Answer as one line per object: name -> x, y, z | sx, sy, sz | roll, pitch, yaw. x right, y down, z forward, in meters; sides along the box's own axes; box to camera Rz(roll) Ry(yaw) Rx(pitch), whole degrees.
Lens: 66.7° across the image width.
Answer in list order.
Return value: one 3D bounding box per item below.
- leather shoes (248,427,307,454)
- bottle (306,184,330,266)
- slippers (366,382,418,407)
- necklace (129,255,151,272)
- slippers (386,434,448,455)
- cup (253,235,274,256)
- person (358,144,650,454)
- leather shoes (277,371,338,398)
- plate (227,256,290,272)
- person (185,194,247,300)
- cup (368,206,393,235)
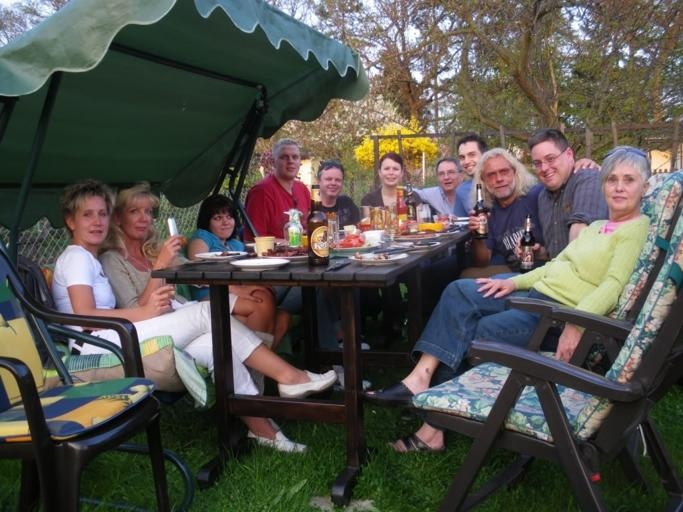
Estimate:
leather shoes -> -0.372, 1.029, 3.026 | 0.320, 0.111, 0.125 | 7, 11, 12
bottle -> -0.128, -0.170, 2.773 | 0.113, 0.411, 0.181 | -2, 9, -3
slippers -> 0.277, 0.750, 2.880 | 0.324, 0.151, 0.131 | 3, -9, -16
necklace -> -1.371, 0.046, 3.519 | 0.111, 0.027, 0.084 | 34, 28, -30
slippers -> 0.432, 1.050, 2.993 | 0.268, 0.094, 0.125 | 4, -7, 1
cup -> -0.455, -0.063, 3.045 | 0.102, 0.091, 0.110 | 2, 3, 0
person -> 0.972, 0.229, 3.029 | 1.334, 1.885, 0.646 | 9, 6, 6
leather shoes -> -0.195, 0.756, 3.103 | 0.349, 0.152, 0.138 | -15, 11, -28
plate -> -0.426, 0.039, 2.704 | 0.310, 0.055, 0.206 | -4, 11, -7
person -> -0.941, -0.066, 4.061 | 0.426, 0.838, 0.600 | -12, -8, 38
cup -> 0.306, -0.283, 4.059 | 0.181, 0.224, 0.185 | 0, 2, 0
